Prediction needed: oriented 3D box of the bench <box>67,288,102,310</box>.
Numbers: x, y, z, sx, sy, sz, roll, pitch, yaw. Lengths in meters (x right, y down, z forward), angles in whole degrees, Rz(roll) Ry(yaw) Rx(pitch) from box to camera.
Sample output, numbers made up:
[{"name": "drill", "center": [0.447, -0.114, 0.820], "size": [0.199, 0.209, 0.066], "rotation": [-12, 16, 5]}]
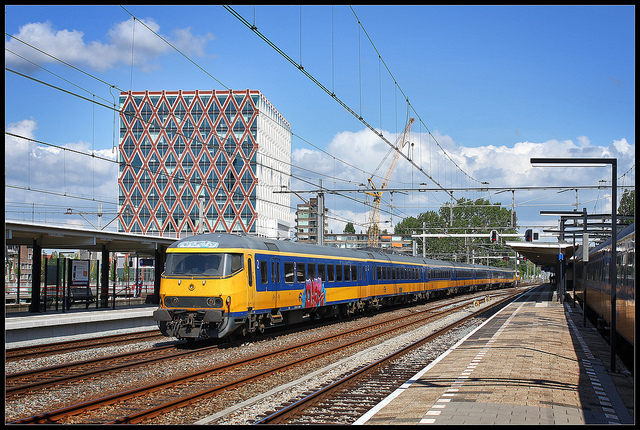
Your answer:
[{"name": "bench", "center": [-14.397, 5.009, 32.012], "size": [1.269, 1.354, 9.382], "rotation": [2, -10, -23]}]

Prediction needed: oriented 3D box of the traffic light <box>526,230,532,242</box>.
[{"name": "traffic light", "center": [15.831, 1.566, 40.303], "size": [0.396, 0.688, 0.529], "rotation": [-4, -8, 20]}]
